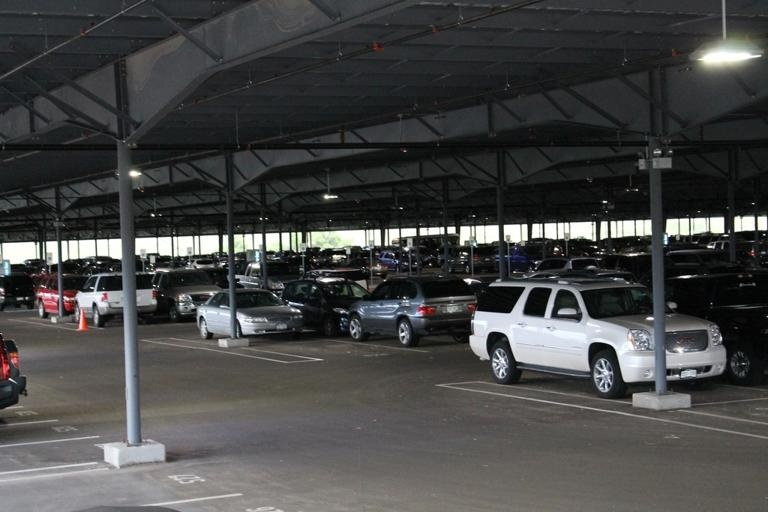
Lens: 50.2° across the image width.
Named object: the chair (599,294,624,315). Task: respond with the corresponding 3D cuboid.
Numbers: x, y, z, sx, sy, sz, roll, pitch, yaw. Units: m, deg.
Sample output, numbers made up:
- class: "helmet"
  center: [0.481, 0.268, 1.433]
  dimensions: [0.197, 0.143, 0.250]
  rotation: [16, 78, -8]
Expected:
- class: "chair"
  center: [4.944, 1.087, 17.677]
  dimensions: [0.440, 0.558, 0.463]
  rotation: [4, -22, -2]
